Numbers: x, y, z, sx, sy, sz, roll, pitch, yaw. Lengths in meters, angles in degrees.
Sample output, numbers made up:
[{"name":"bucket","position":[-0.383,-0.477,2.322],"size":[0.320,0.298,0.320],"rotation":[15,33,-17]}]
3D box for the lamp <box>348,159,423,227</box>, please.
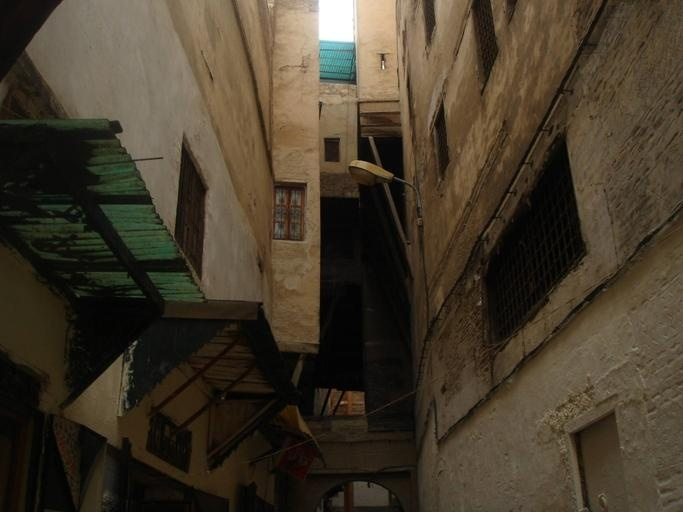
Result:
[{"name":"lamp","position":[0.717,-0.886,10.653],"size":[0.924,0.406,1.087],"rotation":[-1,63,-19]}]
